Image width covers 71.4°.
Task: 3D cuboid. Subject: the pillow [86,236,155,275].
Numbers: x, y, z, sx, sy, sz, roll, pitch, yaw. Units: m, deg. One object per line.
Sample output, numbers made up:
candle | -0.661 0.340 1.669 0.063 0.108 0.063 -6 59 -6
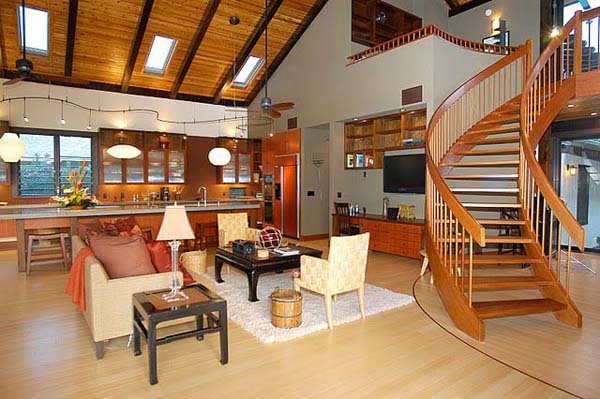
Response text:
pillow | -2.606 0.816 6.063 0.680 0.669 0.282 -2 -13 -22

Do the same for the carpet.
carpet | 0.112 1.828 6.934 1.715 0.132 1.775 -2 5 -32

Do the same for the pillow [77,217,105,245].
pillow | -3.592 0.552 7.119 0.141 0.466 0.448 -34 -8 13

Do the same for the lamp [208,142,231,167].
lamp | -2.049 -1.097 10.530 0.405 0.396 0.397 -1 4 30

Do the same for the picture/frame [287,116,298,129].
picture/frame | -0.218 -2.285 12.380 0.018 0.327 0.463 2 -1 -32

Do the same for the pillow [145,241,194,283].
pillow | -2.085 0.976 6.426 0.595 0.676 0.202 -11 -10 -32

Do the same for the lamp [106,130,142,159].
lamp | -4.824 -1.494 11.289 0.896 0.938 0.885 2 12 -1

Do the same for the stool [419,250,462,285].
stool | 2.885 1.379 8.538 0.650 0.877 0.667 1 -6 2

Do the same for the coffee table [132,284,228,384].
coffee table | -1.685 1.556 5.766 1.202 0.923 1.191 -5 14 -31

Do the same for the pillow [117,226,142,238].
pillow | -3.001 0.581 7.395 0.300 0.108 0.298 0 5 38

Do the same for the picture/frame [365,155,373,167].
picture/frame | 1.762 -0.975 10.628 0.160 0.308 0.274 -6 11 -30

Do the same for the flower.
flower | -5.945 -0.386 10.906 1.113 1.121 1.120 8 7 27

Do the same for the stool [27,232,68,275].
stool | -5.493 1.062 9.037 0.897 0.847 0.885 -2 7 -31

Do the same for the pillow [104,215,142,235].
pillow | -3.188 0.490 7.496 0.491 0.235 0.666 2 0 -2

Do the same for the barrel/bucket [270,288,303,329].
barrel/bucket | -0.212 1.666 6.522 0.555 0.573 0.559 0 1 0

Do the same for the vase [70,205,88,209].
vase | -4.952 0.172 9.327 0.355 0.103 0.180 -5 4 -31

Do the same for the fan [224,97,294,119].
fan | -0.596 -2.099 9.565 0.774 0.350 0.894 4 9 39

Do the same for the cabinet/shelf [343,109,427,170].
cabinet/shelf | 2.140 -1.466 10.239 0.255 0.873 1.807 -1 2 -39

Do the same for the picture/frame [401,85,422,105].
picture/frame | 2.510 -2.328 9.314 0.019 0.352 0.503 4 -4 -36

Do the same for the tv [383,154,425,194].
tv | 2.545 -0.628 10.041 0.131 0.709 0.977 -1 4 -38

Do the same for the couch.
couch | -2.492 1.284 6.378 1.410 1.033 2.010 -3 9 -26
